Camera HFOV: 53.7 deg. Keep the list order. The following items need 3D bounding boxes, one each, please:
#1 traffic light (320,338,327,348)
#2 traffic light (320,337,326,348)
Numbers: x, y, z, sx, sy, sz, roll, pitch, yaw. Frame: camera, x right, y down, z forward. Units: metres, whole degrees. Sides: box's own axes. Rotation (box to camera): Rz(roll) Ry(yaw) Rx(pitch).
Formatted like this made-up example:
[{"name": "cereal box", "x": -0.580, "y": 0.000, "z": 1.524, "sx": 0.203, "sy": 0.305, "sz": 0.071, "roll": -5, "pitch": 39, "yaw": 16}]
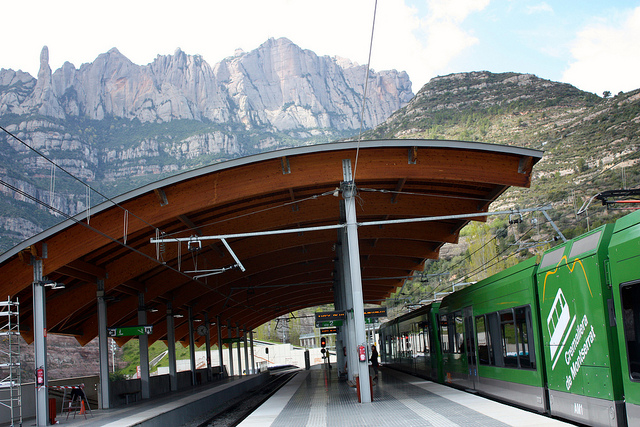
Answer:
[{"name": "traffic light", "x": 0.166, "y": 7.255, "z": 35.285, "sx": 0.316, "sy": 0.636, "sz": 0.246, "roll": -3, "pitch": 10, "yaw": -4}, {"name": "traffic light", "x": 0.160, "y": 7.186, "z": 35.232, "sx": 0.307, "sy": 0.564, "sz": 0.217, "roll": -1, "pitch": 7, "yaw": -3}]
